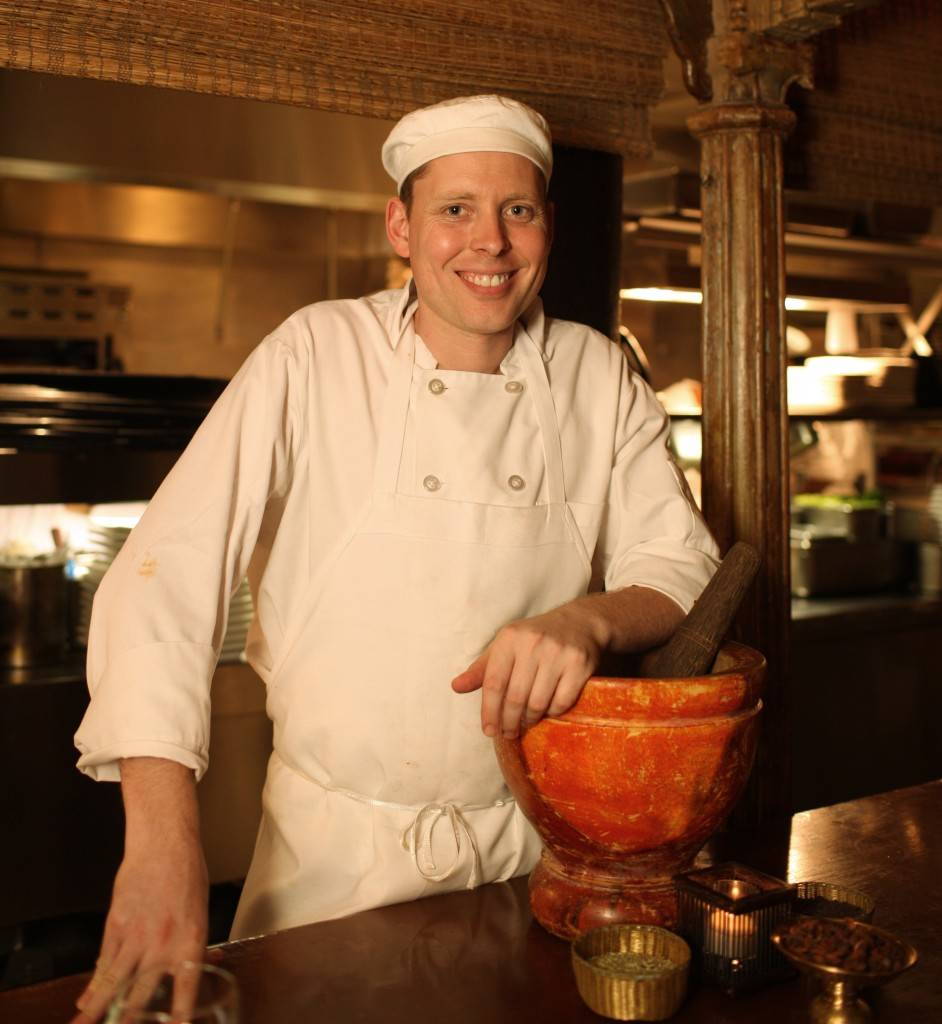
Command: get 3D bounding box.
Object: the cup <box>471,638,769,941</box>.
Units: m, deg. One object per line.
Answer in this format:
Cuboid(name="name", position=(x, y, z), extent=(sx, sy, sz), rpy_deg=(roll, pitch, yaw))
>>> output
Cuboid(name="cup", position=(0.120, 0.283, 1.275), extent=(0.344, 0.303, 0.304), rpy_deg=(0, 1, -3))
